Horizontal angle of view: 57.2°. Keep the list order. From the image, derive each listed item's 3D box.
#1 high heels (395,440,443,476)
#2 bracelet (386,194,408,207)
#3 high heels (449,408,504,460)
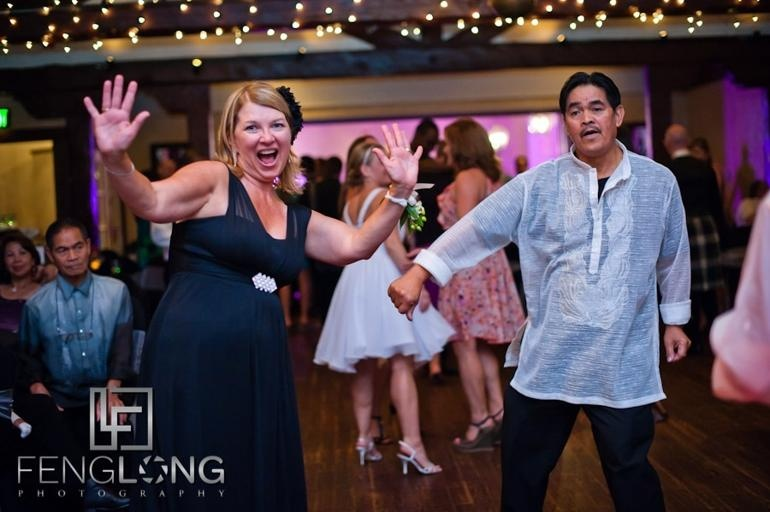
[{"bbox_3d":[0.174,1.170,4.114,0.298,0.196,0.145,-1,0,-5],"label":"high heels"},{"bbox_3d":[0.056,-0.227,2.949,0.067,0.023,0.053,16,-2,15],"label":"bracelet"},{"bbox_3d":[0.534,1.115,4.402,0.438,0.161,0.151,-8,5,-16],"label":"high heels"}]
